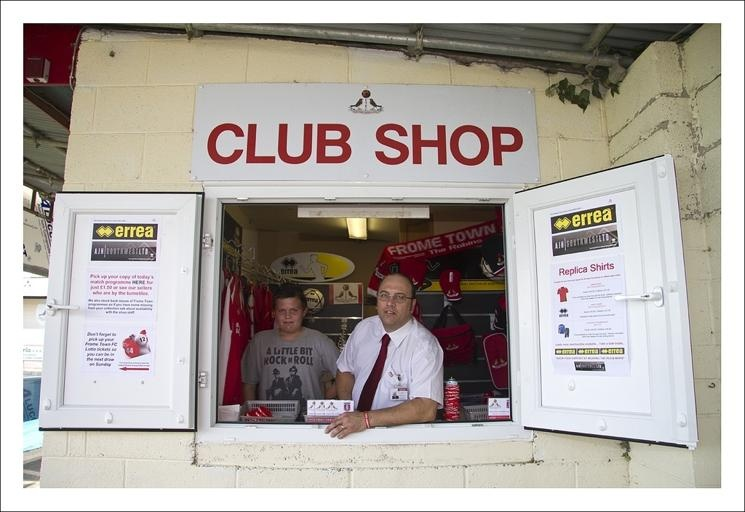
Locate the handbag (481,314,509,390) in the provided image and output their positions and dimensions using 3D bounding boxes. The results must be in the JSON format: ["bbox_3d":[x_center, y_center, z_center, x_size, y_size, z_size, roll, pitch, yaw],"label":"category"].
[{"bbox_3d":[1.195,0.942,5.530,0.202,0.678,0.538,-2,-11,-2],"label":"handbag"}]

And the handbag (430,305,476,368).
[{"bbox_3d":[0.831,0.806,5.851,0.412,0.558,0.344,5,1,1],"label":"handbag"}]

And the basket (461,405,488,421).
[{"bbox_3d":[0.706,1.077,3.942,0.178,0.097,0.141,-3,-11,6],"label":"basket"}]

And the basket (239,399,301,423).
[{"bbox_3d":[-0.699,1.070,3.965,0.421,0.135,0.272,0,-11,-11],"label":"basket"}]

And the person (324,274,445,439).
[{"bbox_3d":[0.128,0.716,4.106,0.729,1.152,0.639,5,-1,8],"label":"person"}]

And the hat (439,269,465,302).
[{"bbox_3d":[0.810,0.306,5.846,0.221,0.310,0.089,-7,-6,9],"label":"hat"}]

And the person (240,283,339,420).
[{"bbox_3d":[-0.659,0.743,4.778,0.588,1.033,0.659,6,-1,-4],"label":"person"}]

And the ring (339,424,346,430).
[{"bbox_3d":[-0.192,1.116,3.761,0.054,0.046,0.012,1,2,7],"label":"ring"}]

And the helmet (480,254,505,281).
[{"bbox_3d":[1.140,0.123,5.428,0.122,0.289,0.227,-16,-9,30],"label":"helmet"}]

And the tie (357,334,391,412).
[{"bbox_3d":[0.016,0.831,4.154,0.261,0.533,0.079,-2,-12,0],"label":"tie"}]

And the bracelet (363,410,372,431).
[{"bbox_3d":[-0.035,1.080,3.784,0.030,0.091,0.074,-1,1,-15],"label":"bracelet"}]
